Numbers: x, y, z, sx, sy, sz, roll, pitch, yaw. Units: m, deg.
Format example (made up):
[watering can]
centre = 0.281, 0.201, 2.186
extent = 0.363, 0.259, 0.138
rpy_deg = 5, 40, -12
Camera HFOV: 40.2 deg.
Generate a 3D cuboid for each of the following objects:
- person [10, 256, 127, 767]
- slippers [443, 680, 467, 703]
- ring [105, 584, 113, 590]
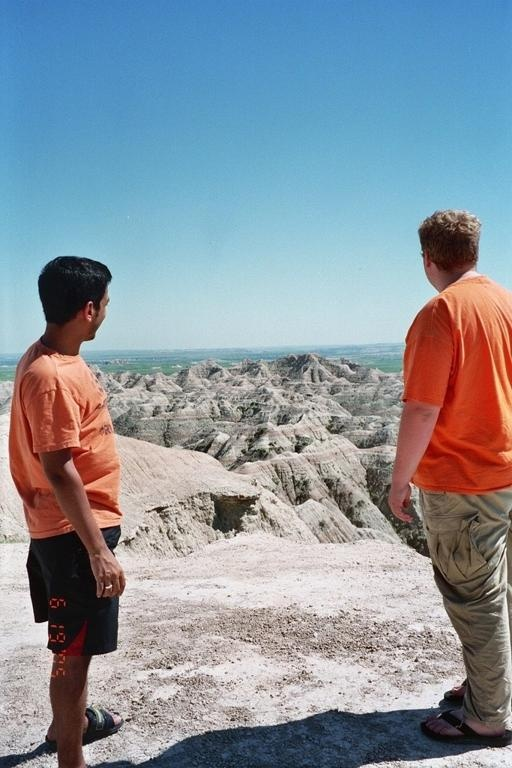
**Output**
[person]
centre = -0.793, 0.520, 2.873
extent = 0.475, 2.145, 0.693
rpy_deg = -1, -5, -11
[slippers]
centre = 0.952, 1.495, 3.426
extent = 0.059, 0.060, 0.162
rpy_deg = 5, -2, -15
[ring]
centre = -0.583, 0.806, 2.789
extent = 0.023, 0.006, 0.023
rpy_deg = -3, -4, 0
